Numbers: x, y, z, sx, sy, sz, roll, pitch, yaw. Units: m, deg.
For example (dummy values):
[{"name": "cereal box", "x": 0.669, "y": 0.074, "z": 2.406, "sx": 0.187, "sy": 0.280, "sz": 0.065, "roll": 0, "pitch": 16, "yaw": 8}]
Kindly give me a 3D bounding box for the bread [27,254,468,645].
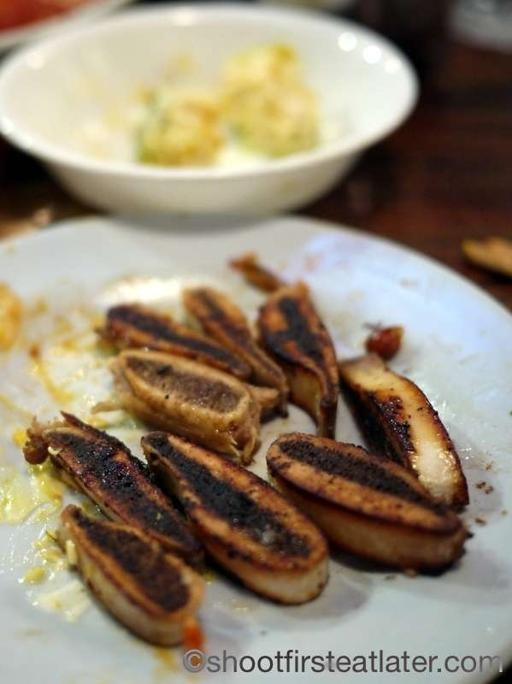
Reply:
[{"name": "bread", "x": -0.021, "y": 0.077, "z": 0.814, "sx": 0.475, "sy": 0.126, "sz": 0.489, "roll": -15, "pitch": 51, "yaw": -7}]
